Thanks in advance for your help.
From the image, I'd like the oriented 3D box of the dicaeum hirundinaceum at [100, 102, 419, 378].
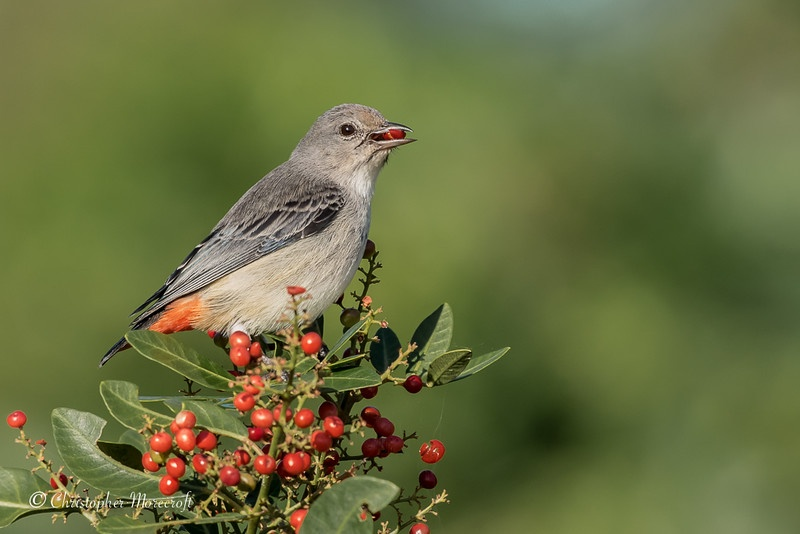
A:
[{"bbox_3d":[-1.033,-0.187,6.977,2.144,1.951,1.094,2,2,11],"label":"dicaeum hirundinaceum"}]
